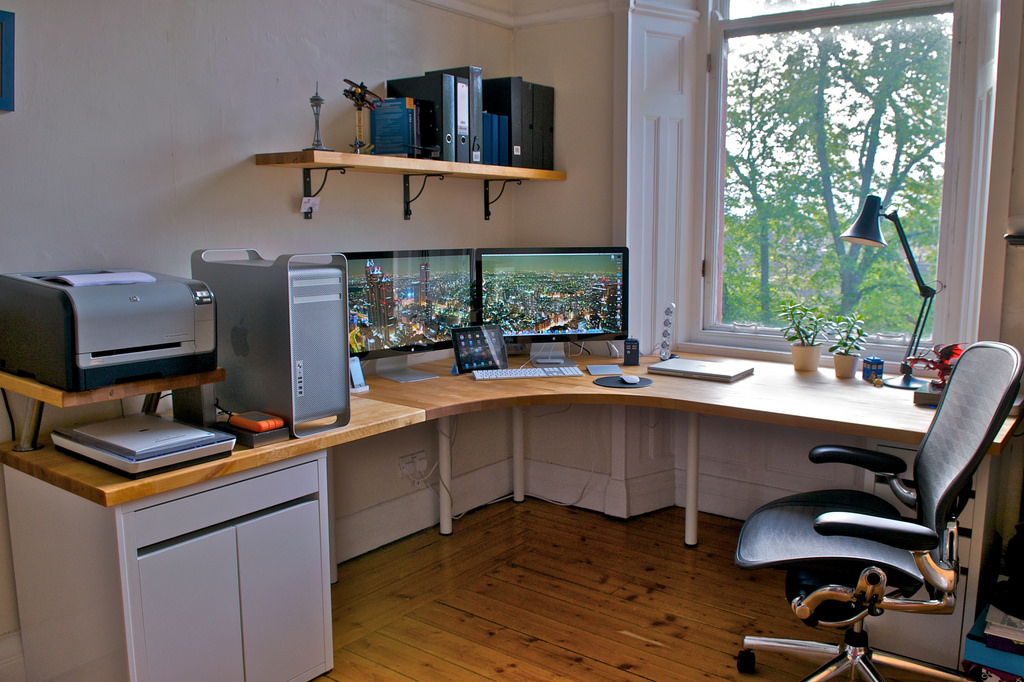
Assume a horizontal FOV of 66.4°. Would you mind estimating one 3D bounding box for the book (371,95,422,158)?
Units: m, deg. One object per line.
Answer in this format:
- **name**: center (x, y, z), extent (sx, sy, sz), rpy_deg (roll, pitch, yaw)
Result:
- **book**: center (-0.554, -0.988, 3.638), extent (0.243, 0.259, 0.084), rpy_deg (3, 12, 21)
